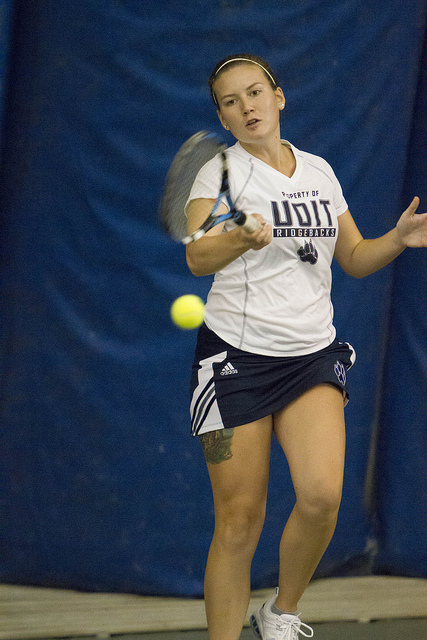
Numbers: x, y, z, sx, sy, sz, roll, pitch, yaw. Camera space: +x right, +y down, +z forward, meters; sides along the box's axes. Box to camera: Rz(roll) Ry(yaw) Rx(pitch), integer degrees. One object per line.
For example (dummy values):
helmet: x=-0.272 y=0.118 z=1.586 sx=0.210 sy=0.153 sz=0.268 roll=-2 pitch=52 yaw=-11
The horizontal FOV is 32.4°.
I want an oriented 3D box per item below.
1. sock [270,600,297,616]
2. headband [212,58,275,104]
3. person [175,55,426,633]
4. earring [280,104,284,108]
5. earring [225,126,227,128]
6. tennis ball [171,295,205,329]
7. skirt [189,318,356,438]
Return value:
sock: x=0.162 y=0.684 z=1.733 sx=0.064 sy=0.020 sz=0.026 roll=5 pitch=16 yaw=12
headband: x=0.066 y=-0.549 z=1.703 sx=0.102 sy=0.102 sz=0.148 roll=12 pitch=8 yaw=13
person: x=0.182 y=0.085 z=1.720 sx=0.517 sy=1.397 sz=0.332 roll=-2 pitch=5 yaw=-39
earring: x=0.163 y=-0.521 z=1.796 sx=0.011 sy=0.007 sz=0.005 roll=-37 pitch=-15 yaw=30
earring: x=0.027 y=-0.466 z=1.780 sx=0.006 sy=0.005 sz=0.006 roll=-3 pitch=-15 yaw=13
tennis ball: x=-0.096 y=-0.017 z=2.453 sx=0.075 sy=0.071 sz=0.073 roll=0 pitch=49 yaw=0
skirt: x=0.132 y=0.148 z=1.716 sx=0.375 sy=0.256 sz=0.176 roll=1 pitch=4 yaw=6
